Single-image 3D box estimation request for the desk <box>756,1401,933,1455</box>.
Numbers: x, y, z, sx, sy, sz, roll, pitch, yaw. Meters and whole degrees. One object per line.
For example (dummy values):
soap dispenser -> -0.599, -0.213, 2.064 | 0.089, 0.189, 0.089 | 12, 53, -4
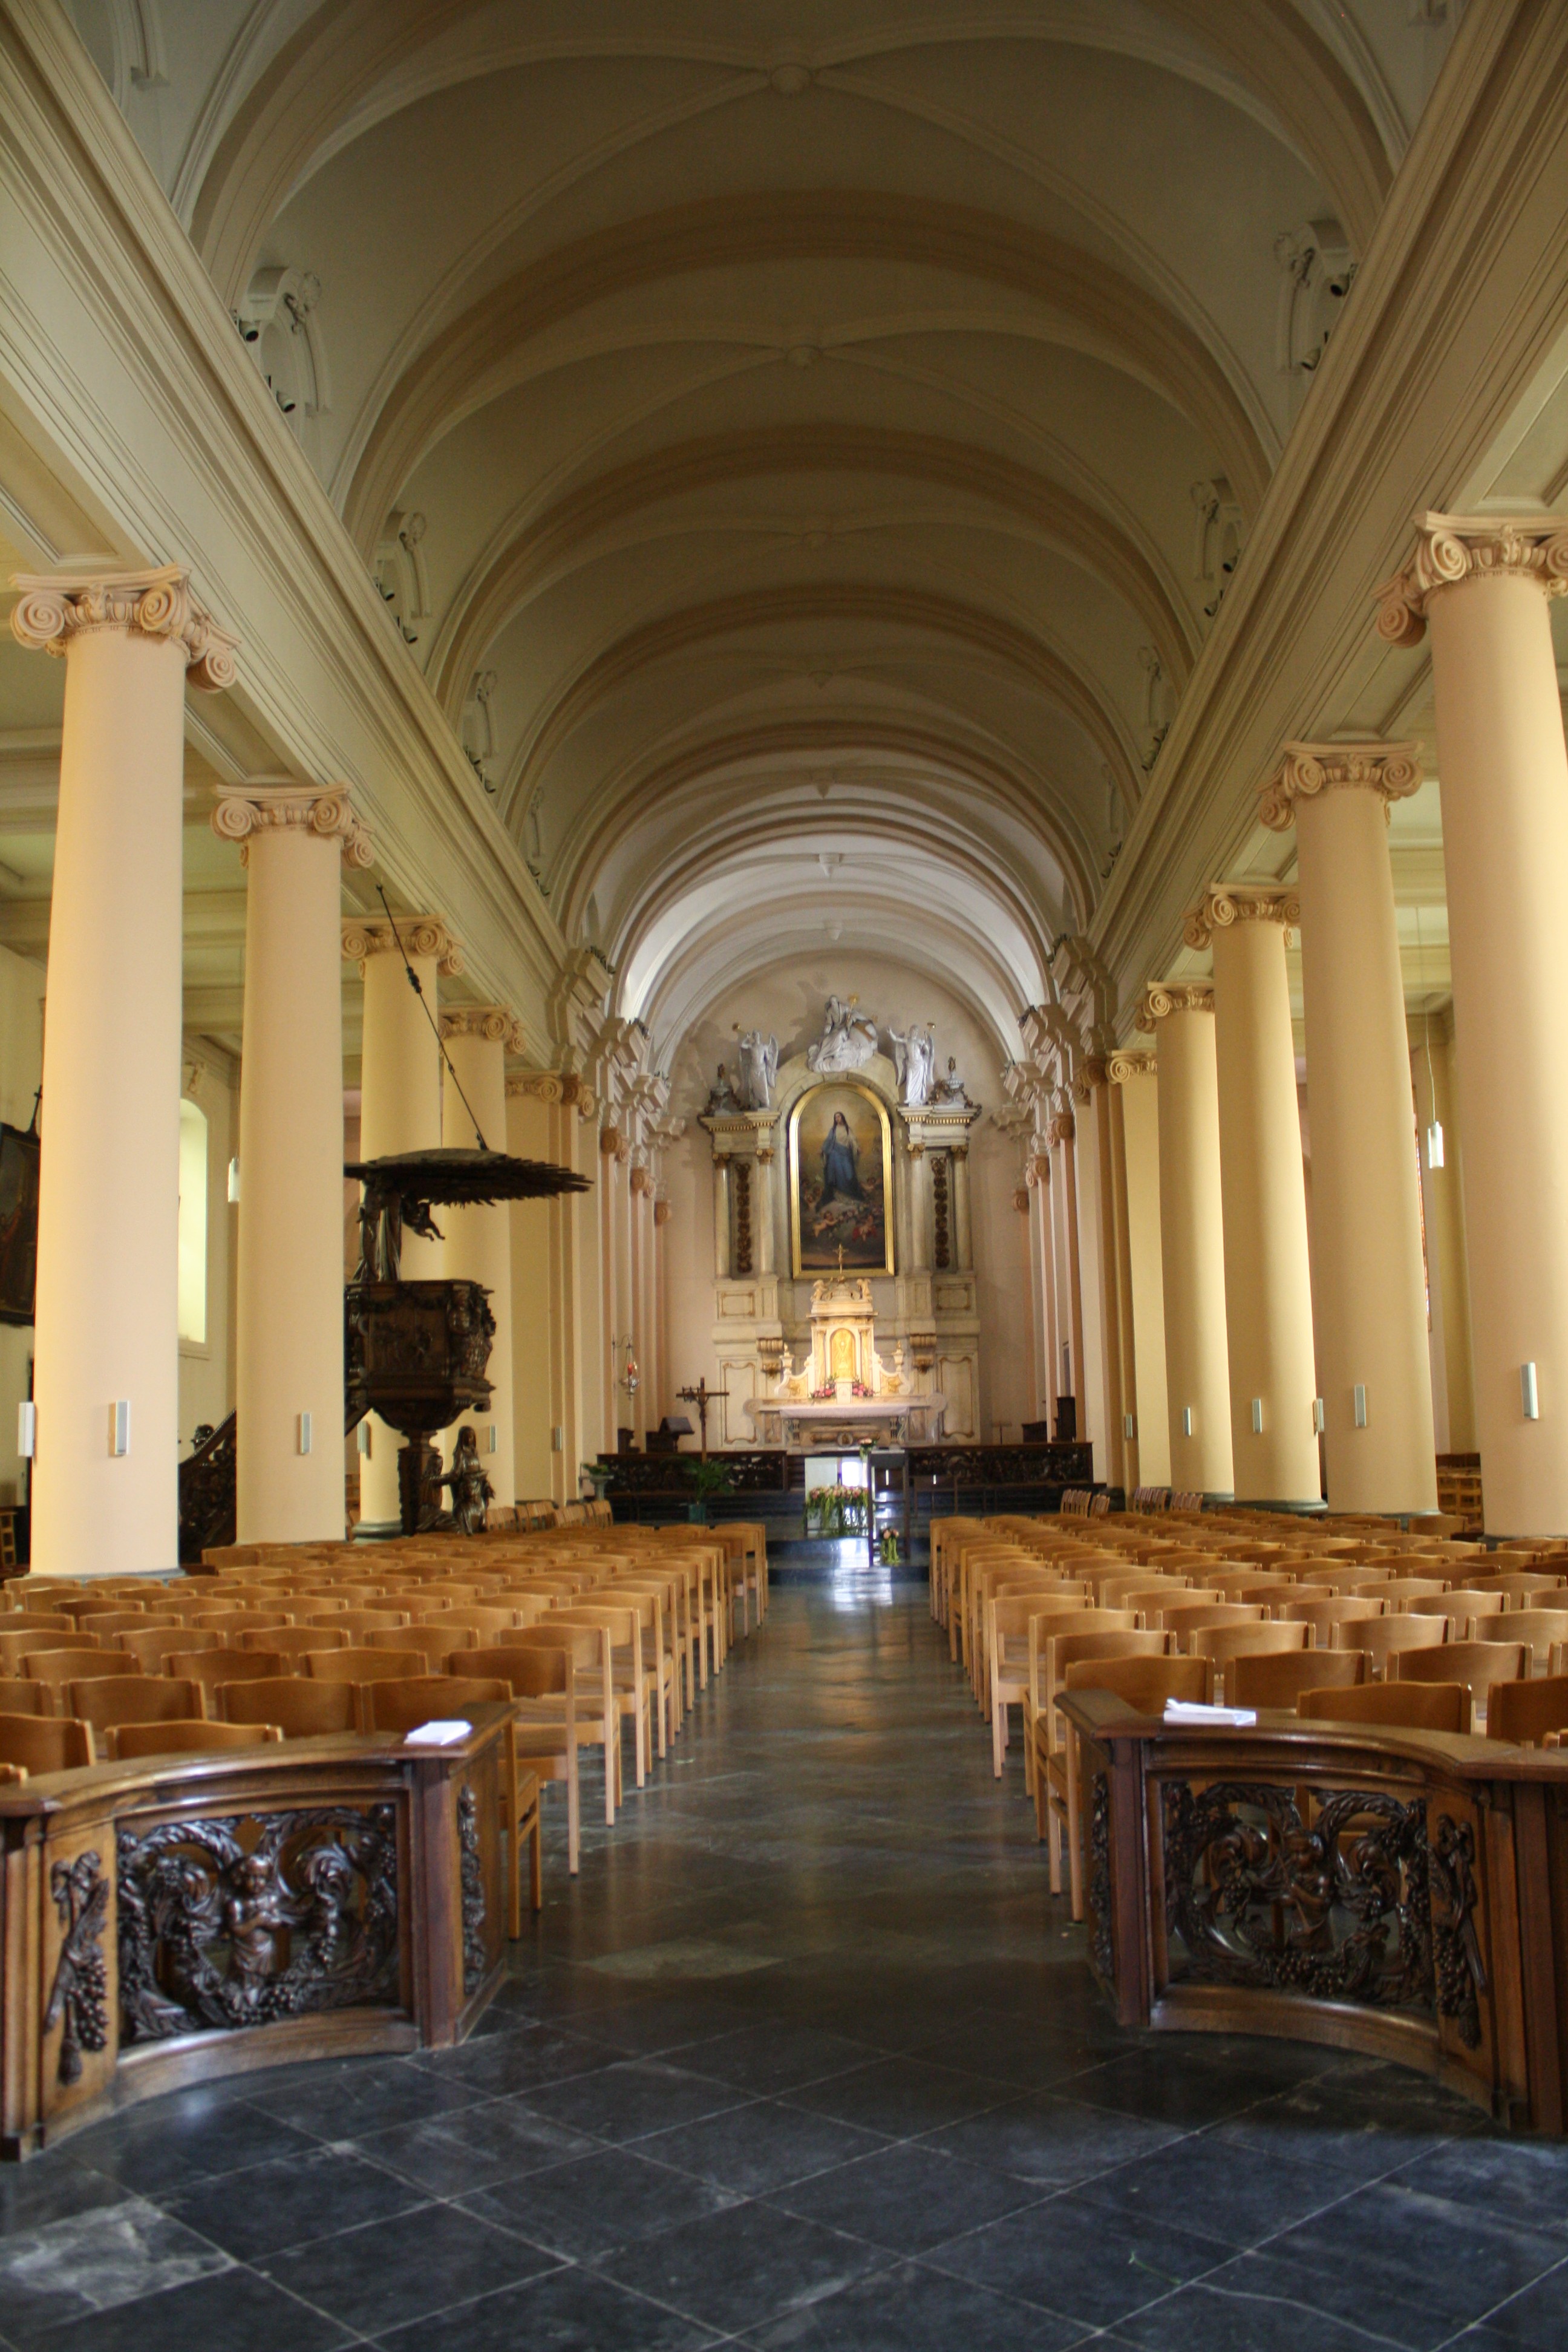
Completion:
desk -> 1.314, 5.800, 38.473 | 3.915, 1.087, 2.094 | -3, -11, 2
